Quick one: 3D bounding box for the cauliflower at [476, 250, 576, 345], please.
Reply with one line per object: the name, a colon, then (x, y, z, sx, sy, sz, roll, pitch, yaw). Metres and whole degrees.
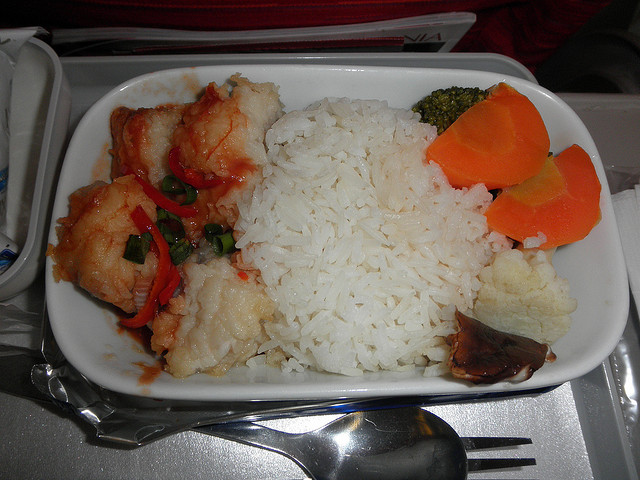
cauliflower: (1.219, 0.344, 3.374, 0.417, 0.464, 0.596, -4, 21, -13)

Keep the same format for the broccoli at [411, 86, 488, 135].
broccoli: (0.774, -0.841, 3.564, 0.525, 0.265, 0.288, -19, 30, -39)
